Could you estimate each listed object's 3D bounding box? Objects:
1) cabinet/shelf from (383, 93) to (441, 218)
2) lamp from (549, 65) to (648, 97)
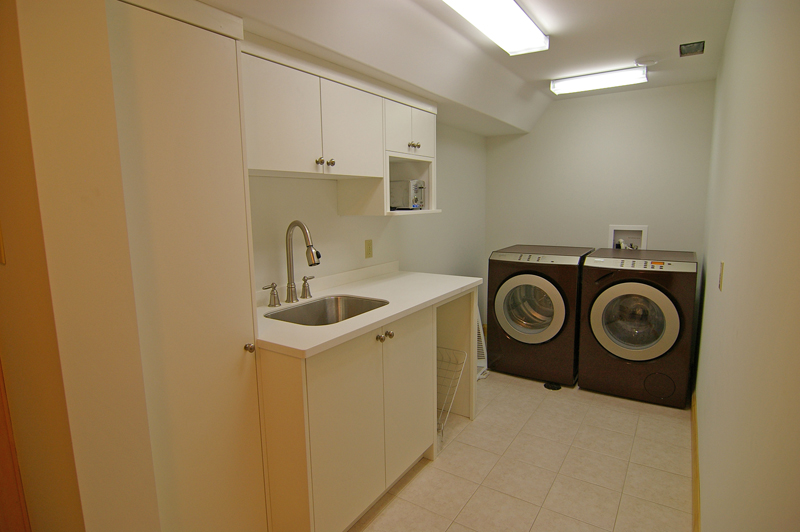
[{"bbox_3d":[0.064,-0.737,3.614,0.284,0.728,0.754,2,5,30],"label":"cabinet/shelf"},{"bbox_3d":[1.539,-1.449,4.262,0.852,0.127,0.173,2,0,21],"label":"lamp"}]
